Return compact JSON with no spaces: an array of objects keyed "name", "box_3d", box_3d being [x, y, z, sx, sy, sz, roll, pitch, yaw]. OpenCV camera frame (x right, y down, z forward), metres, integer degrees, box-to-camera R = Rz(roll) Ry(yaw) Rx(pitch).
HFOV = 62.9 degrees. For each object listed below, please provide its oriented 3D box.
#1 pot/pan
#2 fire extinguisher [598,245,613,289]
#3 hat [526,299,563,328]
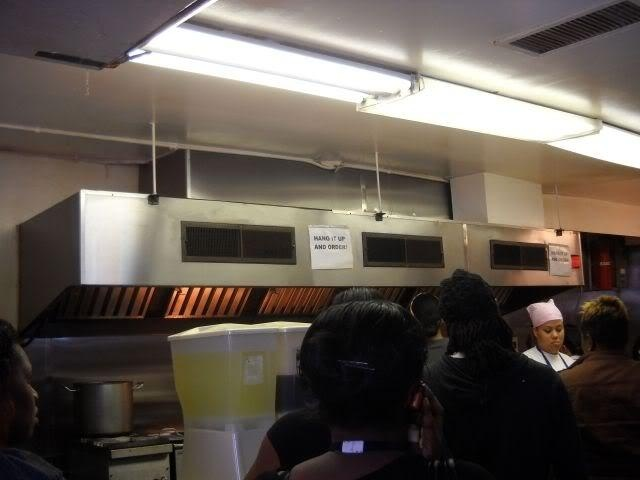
[{"name":"pot/pan","box_3d":[-1.347,1.075,3.287,0.308,0.344,0.497,-15,-17,35]},{"name":"fire extinguisher","box_3d":[3.032,0.270,5.586,0.136,0.518,0.156,8,-26,12]},{"name":"hat","box_3d":[1.457,0.480,3.409,0.178,0.184,0.186,9,-15,-23]}]
